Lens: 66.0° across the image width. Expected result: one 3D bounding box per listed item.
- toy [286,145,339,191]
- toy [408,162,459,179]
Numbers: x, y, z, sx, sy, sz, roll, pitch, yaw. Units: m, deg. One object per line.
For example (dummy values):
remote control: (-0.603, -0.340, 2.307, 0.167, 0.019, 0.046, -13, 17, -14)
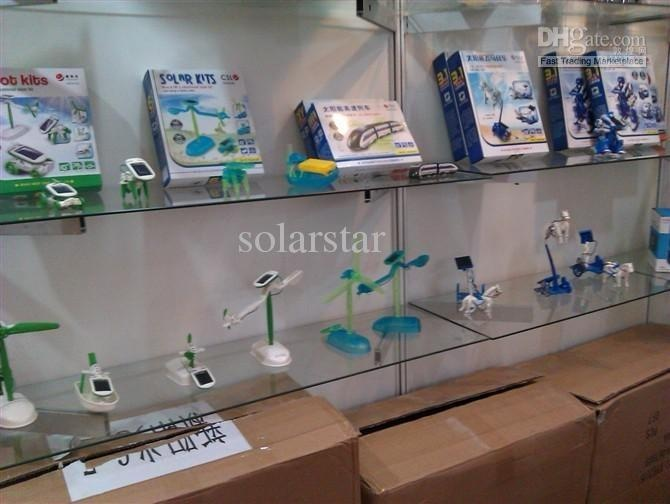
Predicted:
toy: (-0.070, -0.257, 1.575, 0.152, 0.112, 0.090, 8, 32, 19)
toy: (0.318, -0.263, 1.675, 0.180, 0.047, 0.055, -16, 18, -29)
